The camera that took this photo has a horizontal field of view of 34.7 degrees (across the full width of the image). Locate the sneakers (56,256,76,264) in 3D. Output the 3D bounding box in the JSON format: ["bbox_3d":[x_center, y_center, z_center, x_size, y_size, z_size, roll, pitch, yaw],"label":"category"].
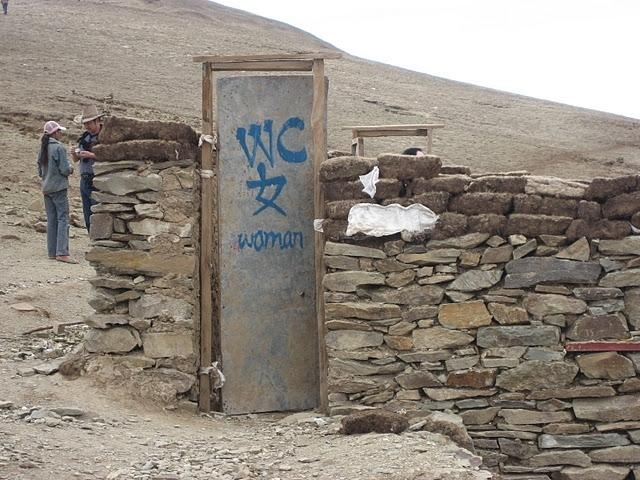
[{"bbox_3d":[-4.270,0.329,17.417,0.373,0.101,0.107,7,14,-8],"label":"sneakers"}]
